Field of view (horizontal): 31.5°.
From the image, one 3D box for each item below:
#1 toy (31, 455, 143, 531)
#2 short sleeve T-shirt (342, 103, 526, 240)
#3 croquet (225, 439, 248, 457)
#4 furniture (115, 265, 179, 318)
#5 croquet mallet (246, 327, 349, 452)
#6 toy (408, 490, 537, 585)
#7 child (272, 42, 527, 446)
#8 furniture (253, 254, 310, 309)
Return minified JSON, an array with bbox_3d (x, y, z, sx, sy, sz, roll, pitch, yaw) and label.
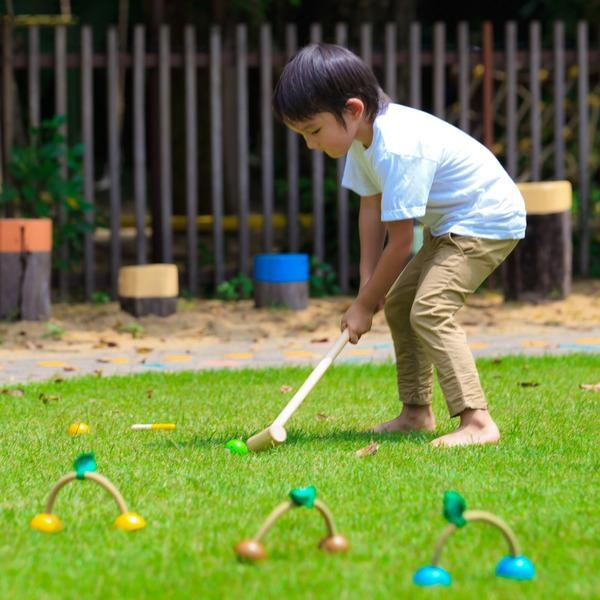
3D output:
[{"bbox_3d":[-0.575,0.524,2.862,0.305,0.214,0.089,-2,17,5],"label":"toy"},{"bbox_3d":[0.496,-0.448,3.859,0.638,0.469,0.644,3,14,10],"label":"short sleeve T-shirt"},{"bbox_3d":[-0.219,0.507,3.672,0.051,0.056,0.061,-16,12,-14],"label":"croquet"},{"bbox_3d":[-1.039,-0.061,7.307,0.402,0.385,0.364,1,3,39],"label":"furniture"},{"bbox_3d":[0.000,0.323,3.768,0.440,0.392,0.145,-6,8,-40],"label":"croquet mallet"},{"bbox_3d":[0.423,0.574,2.563,0.292,0.249,0.115,-5,17,-7],"label":"toy"},{"bbox_3d":[0.387,-0.190,3.885,0.852,1.455,0.643,1,6,12],"label":"child"},{"bbox_3d":[-0.130,-0.155,7.715,0.353,0.425,0.372,-1,6,-16],"label":"furniture"}]
